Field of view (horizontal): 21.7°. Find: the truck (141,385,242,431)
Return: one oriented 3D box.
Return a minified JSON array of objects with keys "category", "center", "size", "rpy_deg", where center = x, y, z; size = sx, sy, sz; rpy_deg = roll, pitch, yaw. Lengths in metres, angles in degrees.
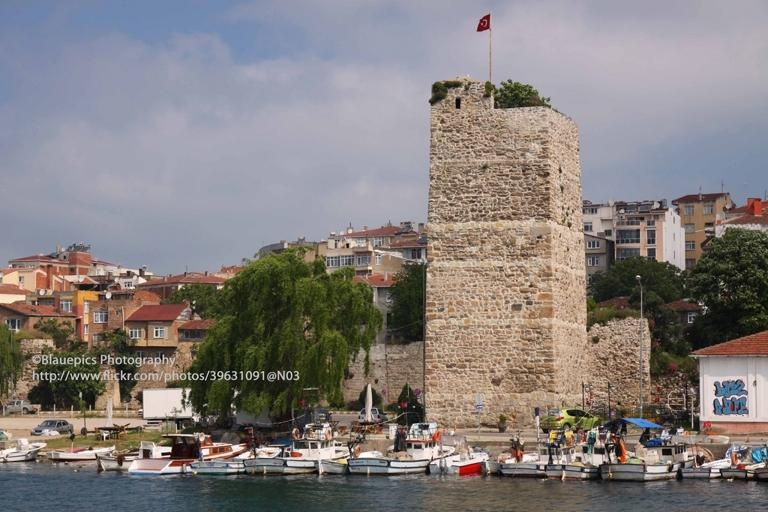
[{"category":"truck","center":[-13.190,9.763,125.862],"size":[5.853,2.378,2.729],"rpy_deg":[-8,-12,41]}]

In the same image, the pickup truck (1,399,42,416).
[{"category":"pickup truck","center":[-25.812,11.095,141.868],"size":[2.112,0.655,1.071],"rpy_deg":[3,-6,-5]}]

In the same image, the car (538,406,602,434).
[{"category":"car","center":[10.719,9.640,114.658],"size":[2.944,0.872,1.530],"rpy_deg":[-2,0,-33]}]

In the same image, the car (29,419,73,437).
[{"category":"car","center":[-21.018,11.218,127.268],"size":[2.613,0.758,1.186],"rpy_deg":[4,-6,-27]}]
